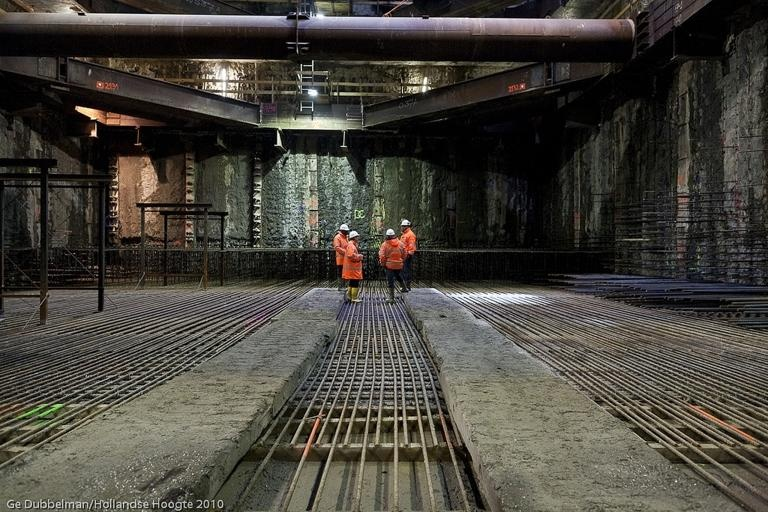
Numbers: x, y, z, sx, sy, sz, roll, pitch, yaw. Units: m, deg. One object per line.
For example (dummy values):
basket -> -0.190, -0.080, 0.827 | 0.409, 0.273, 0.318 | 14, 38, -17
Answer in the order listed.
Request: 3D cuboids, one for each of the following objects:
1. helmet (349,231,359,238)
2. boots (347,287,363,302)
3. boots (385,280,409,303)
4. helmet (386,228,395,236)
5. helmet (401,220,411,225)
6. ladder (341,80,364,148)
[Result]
helmet -> -0.774, -0.579, 14.394 | 0.233, 0.149, 0.290 | 1, 8, 33
boots -> -0.861, 1.015, 14.627 | 0.416, 0.458, 0.402 | -6, -5, 34
boots -> 0.378, 0.978, 15.626 | 0.535, 0.619, 0.671 | -4, 8, -43
helmet -> 0.164, -0.668, 14.885 | 0.247, 0.181, 0.347 | -1, 5, 1
helmet -> 0.664, -1.019, 16.135 | 0.338, 0.208, 0.435 | 0, 7, -5
ladder -> -1.234, -5.391, 21.553 | 0.871, 2.046, 1.267 | -1, 2, -3
